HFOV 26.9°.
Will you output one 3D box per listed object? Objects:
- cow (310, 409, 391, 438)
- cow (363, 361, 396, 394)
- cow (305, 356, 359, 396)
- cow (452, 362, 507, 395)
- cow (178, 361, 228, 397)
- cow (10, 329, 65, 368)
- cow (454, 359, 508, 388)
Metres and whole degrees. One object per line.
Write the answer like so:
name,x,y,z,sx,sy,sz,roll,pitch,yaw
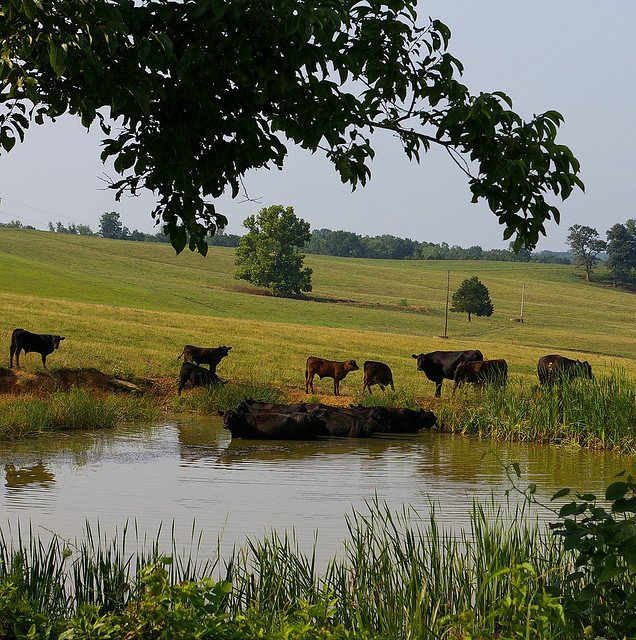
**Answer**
cow,0.544,1.773,22.603,1.247,0.478,0.750,0,-6,8
cow,1.453,1.397,32.650,0.675,0.717,1.513,2,-6,-15
cow,0.314,1.424,33.747,1.697,1.424,0.659,2,1,18
cow,3.493,1.163,29.220,0.903,0.548,1.780,1,-6,1
cow,-2.687,1.291,29.838,0.945,0.747,1.610,6,-8,-40
cow,-6.239,0.652,29.385,1.032,0.869,1.636,2,-6,-10
cow,3.525,1.178,29.796,1.383,0.895,0.519,1,-7,-4
